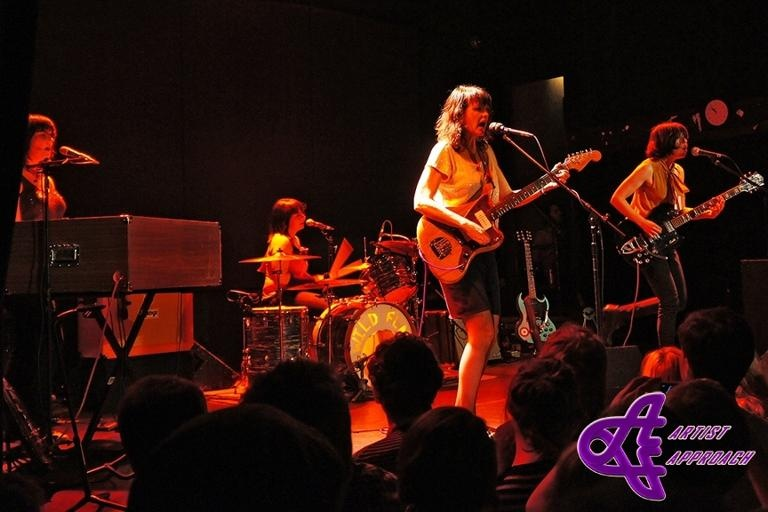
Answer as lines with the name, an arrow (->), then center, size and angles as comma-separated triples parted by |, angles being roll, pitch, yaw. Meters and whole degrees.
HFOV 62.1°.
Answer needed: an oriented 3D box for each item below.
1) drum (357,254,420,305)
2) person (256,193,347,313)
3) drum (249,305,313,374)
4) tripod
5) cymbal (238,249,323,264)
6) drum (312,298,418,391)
drum -> 0.061, 0.178, 6.121 | 0.480, 0.393, 0.490 | -28, -25, 34
person -> -0.706, -0.052, 6.338 | 1.025, 1.452, 0.877 | -1, 1, -15
drum -> -1.031, 0.793, 6.054 | 0.555, 0.560, 0.578 | -3, -1, 27
tripod -> -2.122, 0.451, 4.107 | 0.524, 1.956, 1.938 | 2, -8, -24
cymbal -> -0.843, 0.015, 5.595 | 0.358, 0.075, 0.353 | -6, 6, -35
drum -> -0.150, 0.695, 5.927 | 0.717, 0.705, 0.468 | -11, 24, -32
